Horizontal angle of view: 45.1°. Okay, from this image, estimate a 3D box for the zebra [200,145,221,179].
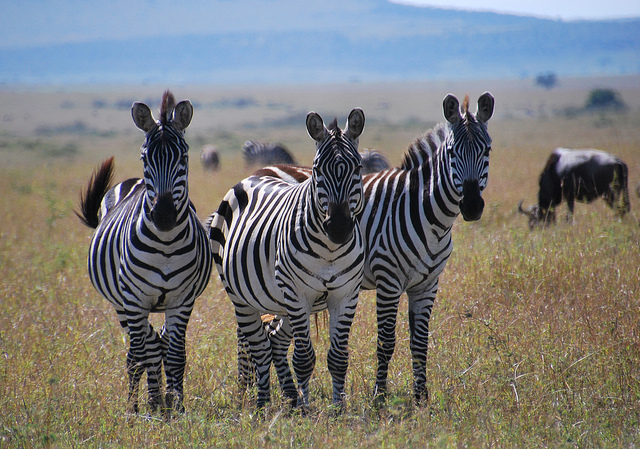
[{"bbox_3d":[-3.426,-2.060,24.836,0.713,1.078,0.321,-1,-6,23],"label":"zebra"}]

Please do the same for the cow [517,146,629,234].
[{"bbox_3d":[5.816,-0.751,17.868,0.741,1.933,2.742,-14,5,-42],"label":"cow"}]

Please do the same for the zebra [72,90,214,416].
[{"bbox_3d":[-2.809,0.407,12.430,1.690,5.049,1.101,4,9,24],"label":"zebra"}]

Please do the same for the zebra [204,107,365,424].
[{"bbox_3d":[-0.447,0.591,12.141,2.336,4.783,0.852,6,10,35],"label":"zebra"}]
